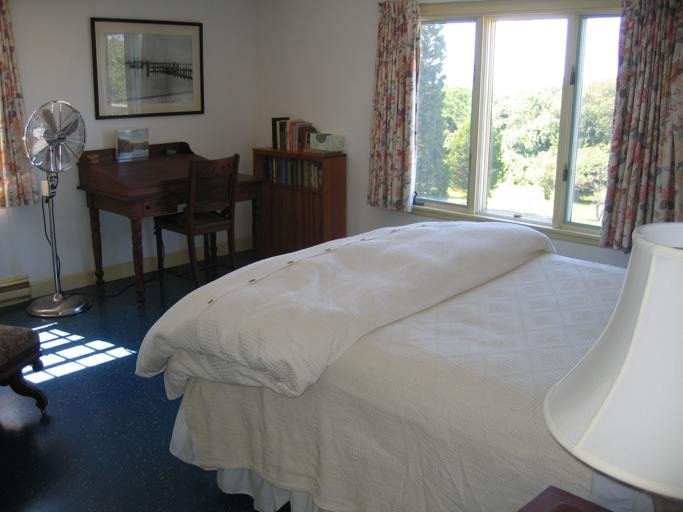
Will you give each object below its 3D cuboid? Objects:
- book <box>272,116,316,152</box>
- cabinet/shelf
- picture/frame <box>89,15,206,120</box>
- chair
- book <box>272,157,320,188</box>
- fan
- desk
[{"bbox_3d":[-0.486,-1.157,5.177,0.364,0.355,0.405,-6,3,-10],"label":"book"},{"bbox_3d":[-0.466,-0.522,5.084,0.715,0.958,0.290,6,28,14],"label":"cabinet/shelf"},{"bbox_3d":[-1.726,-1.653,4.535,0.902,0.825,0.034,-10,15,-43],"label":"picture/frame"},{"bbox_3d":[-1.215,-0.289,4.487,0.701,1.214,0.716,6,17,7],"label":"chair"},{"bbox_3d":[-0.451,-0.799,4.985,0.619,0.245,0.109,15,21,39],"label":"book"},{"bbox_3d":[-2.154,-0.341,3.916,0.534,1.565,0.379,-7,18,-27],"label":"fan"},{"bbox_3d":[-1.568,-0.354,4.556,0.697,1.116,1.101,13,20,33],"label":"desk"}]
